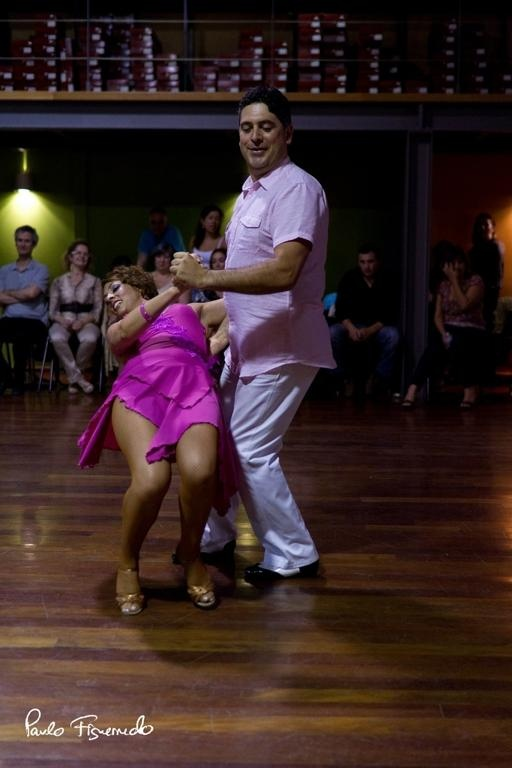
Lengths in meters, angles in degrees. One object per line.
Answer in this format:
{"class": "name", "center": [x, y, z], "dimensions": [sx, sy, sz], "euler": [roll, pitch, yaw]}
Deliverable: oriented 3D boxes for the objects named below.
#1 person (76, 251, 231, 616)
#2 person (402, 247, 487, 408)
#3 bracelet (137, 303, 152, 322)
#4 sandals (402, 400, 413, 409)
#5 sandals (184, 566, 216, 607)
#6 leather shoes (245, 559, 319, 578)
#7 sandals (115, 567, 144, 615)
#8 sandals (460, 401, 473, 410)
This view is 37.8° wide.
{"class": "person", "center": [-0.215, 0.082, 1.912], "dimensions": [0.542, 0.885, 0.347], "euler": [-5, -20, 0]}
{"class": "person", "center": [1.462, -0.438, 5.643], "dimensions": [0.523, 1.153, 0.645], "euler": [4, 13, 15]}
{"class": "bracelet", "center": [-0.289, -0.184, 1.940], "dimensions": [0.011, 0.043, 0.043], "euler": [-34, 46, 3]}
{"class": "sandals", "center": [1.112, 0.154, 5.489], "dimensions": [0.068, 0.042, 0.177], "euler": [-1, 1, 8]}
{"class": "sandals", "center": [-0.135, 0.497, 1.828], "dimensions": [0.054, 0.031, 0.121], "euler": [-9, 35, -16]}
{"class": "leather shoes", "center": [0.069, 0.507, 2.065], "dimensions": [0.199, 0.064, 0.066], "euler": [4, -1, -8]}
{"class": "sandals", "center": [-0.304, 0.495, 1.799], "dimensions": [0.064, 0.092, 0.100], "euler": [-2, 12, -12]}
{"class": "sandals", "center": [1.548, 0.161, 5.494], "dimensions": [0.069, 0.044, 0.178], "euler": [0, 0, 7]}
